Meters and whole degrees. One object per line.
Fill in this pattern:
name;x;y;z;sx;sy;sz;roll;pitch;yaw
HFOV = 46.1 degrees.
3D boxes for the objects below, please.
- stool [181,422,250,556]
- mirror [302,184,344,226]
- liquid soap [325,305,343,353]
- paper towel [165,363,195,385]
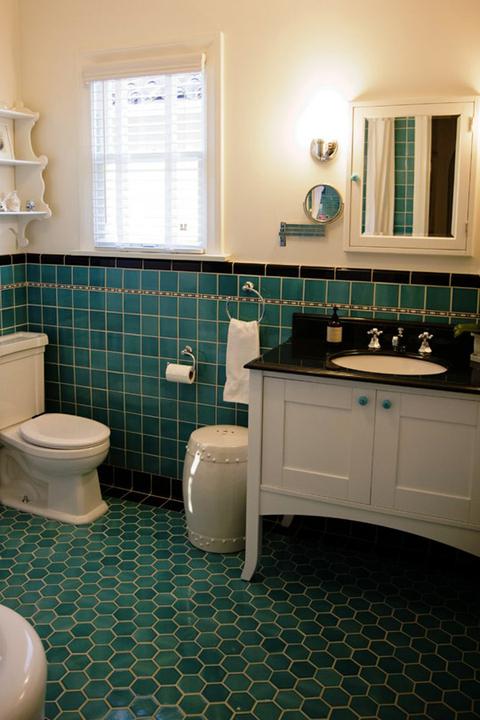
stool;-0.089;0.565;2.399;0.304;0.427;0.319;6;-1;-35
mirror;0.346;-0.640;2.312;0.166;0.194;0.026;7;15;27
liquid soap;0.379;-0.135;2.255;0.068;0.156;0.234;2;9;9
paper towel;-0.276;0.062;2.655;0.128;0.090;0.094;8;38;19
